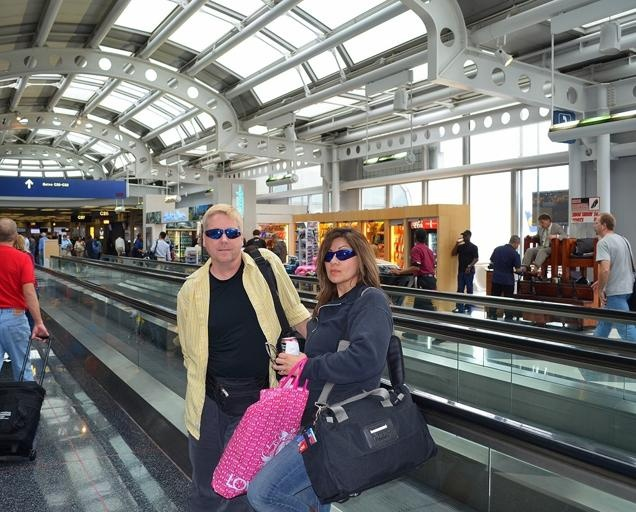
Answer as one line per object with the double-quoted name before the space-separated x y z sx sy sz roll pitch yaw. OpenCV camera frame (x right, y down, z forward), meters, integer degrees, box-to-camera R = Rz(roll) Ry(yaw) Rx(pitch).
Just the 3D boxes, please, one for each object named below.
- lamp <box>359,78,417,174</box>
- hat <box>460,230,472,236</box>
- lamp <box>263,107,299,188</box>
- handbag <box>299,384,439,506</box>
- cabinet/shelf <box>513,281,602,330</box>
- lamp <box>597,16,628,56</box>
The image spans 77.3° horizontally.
"lamp" 2.302 -4.419 13.337 0.553 2.594 2.412 12 -16 -40
"hat" 3.972 -0.627 10.772 0.275 0.137 0.181 7 5 26
"lamp" -1.223 -3.931 15.397 0.960 2.753 2.056 2 10 -31
"handbag" 0.167 0.615 1.347 0.442 0.315 0.221 -9 6 -16
"cabinet/shelf" 4.790 0.966 8.087 0.424 0.735 1.640 -8 3 -17
"lamp" 4.724 -3.548 6.465 0.284 0.551 0.405 -4 7 35
